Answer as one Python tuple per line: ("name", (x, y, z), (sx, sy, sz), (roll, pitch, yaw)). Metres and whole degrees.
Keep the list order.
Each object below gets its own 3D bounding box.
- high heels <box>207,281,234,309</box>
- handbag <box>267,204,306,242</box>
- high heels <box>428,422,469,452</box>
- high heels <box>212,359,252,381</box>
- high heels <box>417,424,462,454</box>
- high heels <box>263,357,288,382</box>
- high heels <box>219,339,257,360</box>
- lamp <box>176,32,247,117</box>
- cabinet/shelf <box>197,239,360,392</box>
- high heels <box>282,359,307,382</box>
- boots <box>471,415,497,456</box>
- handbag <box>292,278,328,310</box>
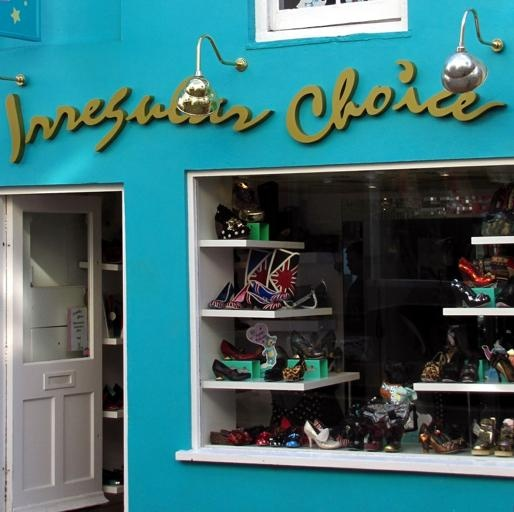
("high heels", (-0.199, 0.215, 4.126), (0.068, 0.090, 0.225), (3, 33, 30))
("handbag", (0.184, -0.192, 4.089), (0.182, 0.291, 0.184), (-2, 2, -41))
("high heels", (1.014, 0.966, 3.685), (0.192, 0.147, 0.075), (-4, -5, 17))
("high heels", (-0.162, 0.673, 4.118), (0.258, 0.158, 0.094), (0, -3, 5))
("high heels", (0.958, 0.961, 3.693), (0.249, 0.148, 0.097), (-2, 2, 25))
("high heels", (0.115, 0.656, 4.007), (0.063, 0.089, 0.195), (-4, 4, 31))
("high heels", (-0.131, 0.563, 4.185), (0.253, 0.136, 0.095), (1, -5, 10))
("lamp", (-0.214, -0.913, 3.505), (0.171, 0.398, 0.426), (16, 22, 35))
("cabinet/shelf", (0.150, 0.360, 4.034), (0.742, 0.814, 0.267), (0, 1, 15))
("high heels", (0.217, 0.661, 3.974), (0.123, 0.140, 0.082), (0, -2, 3))
("boots", (1.205, 0.948, 3.668), (0.227, 0.178, 0.072), (2, -7, -45))
("handbag", (0.306, 0.227, 4.047), (0.179, 0.072, 0.145), (-21, 1, -3))
